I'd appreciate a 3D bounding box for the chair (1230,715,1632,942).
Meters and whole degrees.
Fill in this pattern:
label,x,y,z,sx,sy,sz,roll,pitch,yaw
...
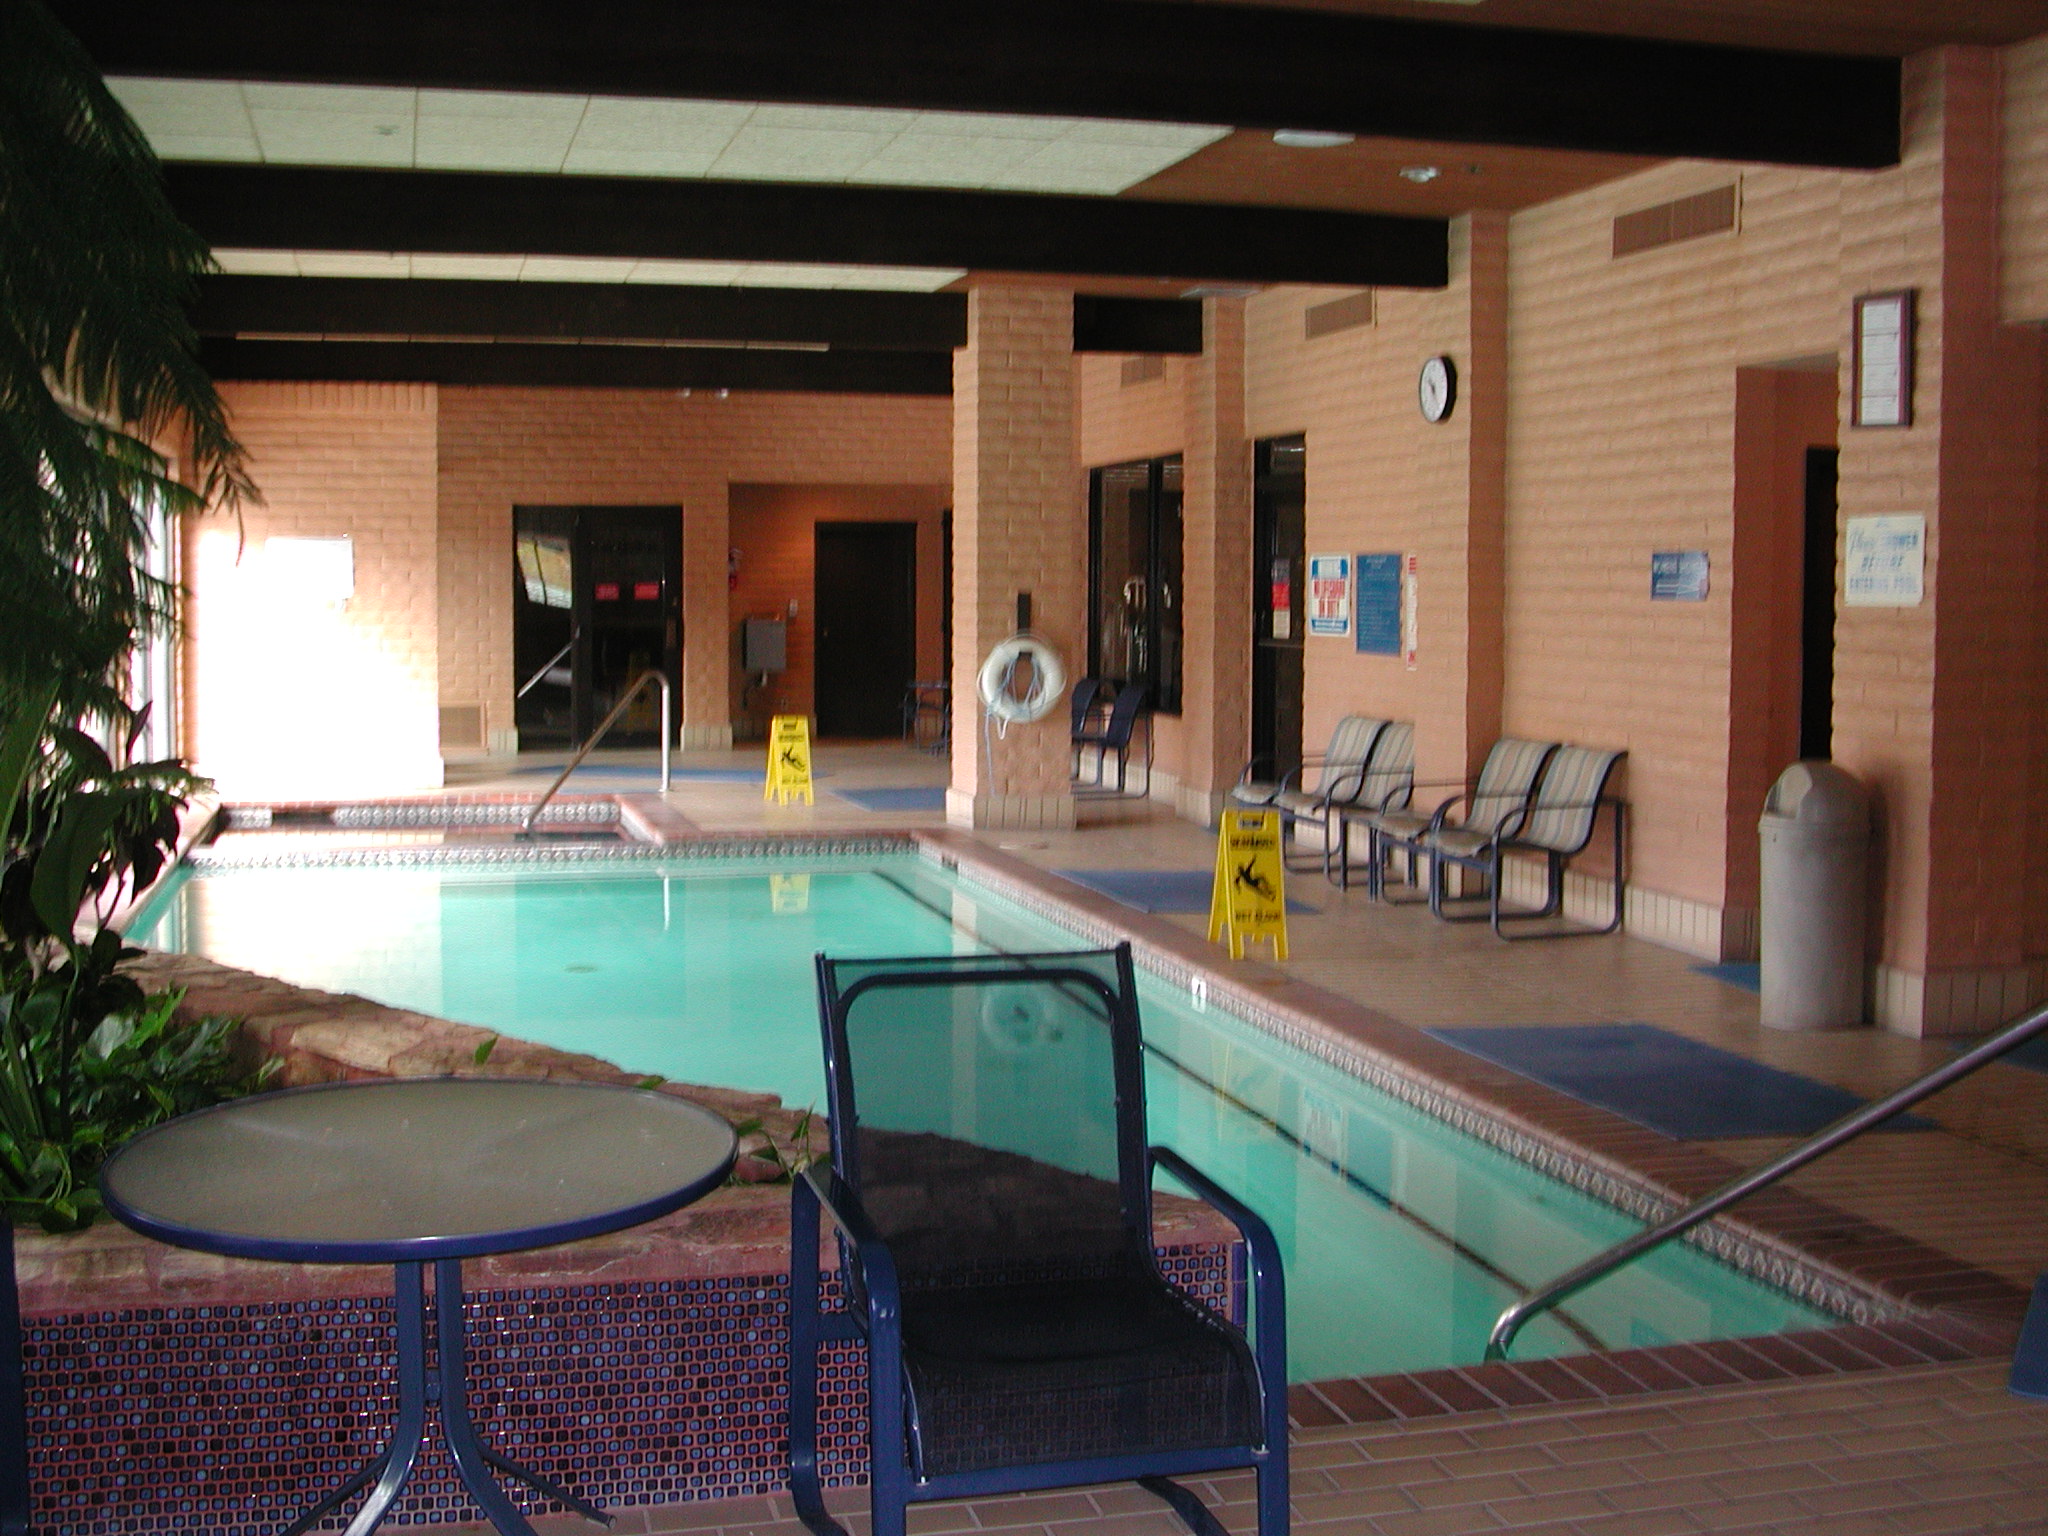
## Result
label,x,y,z,sx,sy,sz,roll,pitch,yaw
chair,2.523,0.293,9.911,0.888,1.048,2.500,-1,8,-19

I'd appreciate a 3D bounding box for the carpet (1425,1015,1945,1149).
label,x,y,z,sx,sy,sz,roll,pitch,yaw
carpet,2.425,1.168,6.294,1.086,0.065,1.602,-1,8,-20

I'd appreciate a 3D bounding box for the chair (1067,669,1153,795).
label,x,y,z,sx,sy,sz,roll,pitch,yaw
chair,0.817,-0.338,15.184,0.405,0.715,1.123,-2,4,-16

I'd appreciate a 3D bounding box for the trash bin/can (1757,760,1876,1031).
label,x,y,z,sx,sy,sz,roll,pitch,yaw
trash bin/can,3.343,0.550,6.979,0.439,1.127,0.234,5,8,25

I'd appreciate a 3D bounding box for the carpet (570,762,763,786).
label,x,y,z,sx,sy,sz,roll,pitch,yaw
carpet,-3.550,0.056,16.860,2.137,0.100,1.253,3,8,14

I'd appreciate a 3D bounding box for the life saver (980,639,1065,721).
label,x,y,z,sx,sy,sz,roll,pitch,yaw
life saver,-0.035,-0.650,12.595,0.612,0.642,0.219,5,-3,-4

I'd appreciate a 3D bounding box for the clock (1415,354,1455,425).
label,x,y,z,sx,sy,sz,roll,pitch,yaw
clock,2.543,-2.318,10.077,0.107,0.423,0.367,0,7,-12

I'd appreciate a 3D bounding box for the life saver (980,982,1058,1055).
label,x,y,z,sx,sy,sz,roll,pitch,yaw
life saver,-0.013,0.585,3.766,0.180,0.028,0.166,9,27,19
